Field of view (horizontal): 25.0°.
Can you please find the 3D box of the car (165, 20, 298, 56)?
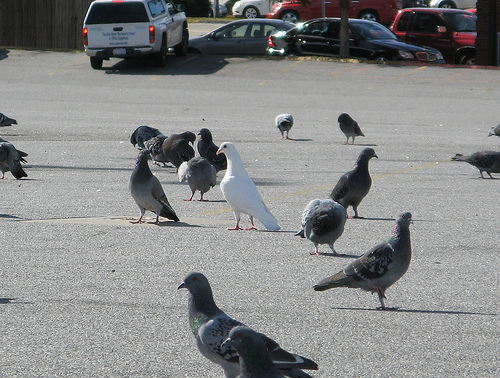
[{"bbox_3d":[-0.105,-5.375,41.109,5.141,1.678,2.255,1,13,11],"label":"car"}]
